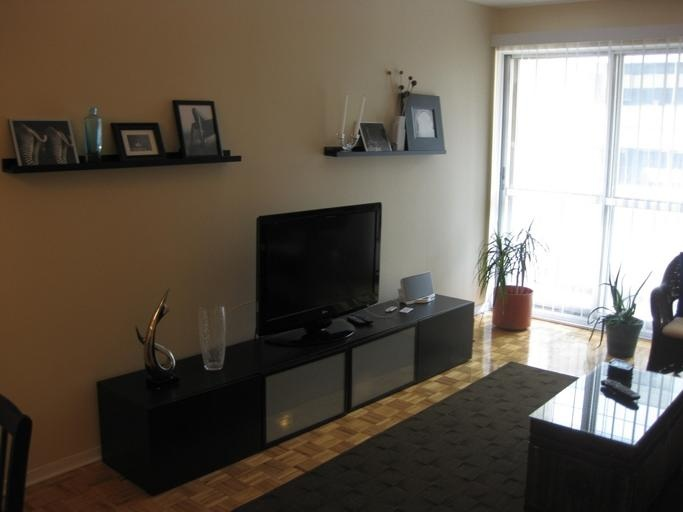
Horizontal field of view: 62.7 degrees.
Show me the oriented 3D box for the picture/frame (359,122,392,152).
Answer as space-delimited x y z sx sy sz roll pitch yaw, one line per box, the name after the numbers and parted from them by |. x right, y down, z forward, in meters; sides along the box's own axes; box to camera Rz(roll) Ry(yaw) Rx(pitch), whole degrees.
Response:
0.268 -0.951 4.445 0.162 0.235 0.309 10 17 34 | picture/frame

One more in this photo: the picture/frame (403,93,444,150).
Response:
0.686 -1.164 4.824 0.039 0.531 0.498 -4 2 36 | picture/frame

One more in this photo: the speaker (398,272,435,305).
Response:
0.638 0.276 4.659 0.351 0.289 0.221 -8 5 -39 | speaker

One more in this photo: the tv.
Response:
-0.191 0.137 3.847 0.236 0.801 0.891 10 16 43 | tv

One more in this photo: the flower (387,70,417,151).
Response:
0.521 -1.250 4.735 0.148 0.661 0.403 10 17 35 | flower

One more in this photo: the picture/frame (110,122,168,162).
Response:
-1.193 -0.664 3.249 0.230 0.203 0.017 -11 2 -40 | picture/frame

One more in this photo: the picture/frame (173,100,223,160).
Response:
-0.908 -0.784 3.472 0.025 0.392 0.319 -5 10 42 | picture/frame

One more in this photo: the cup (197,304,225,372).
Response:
-0.789 0.496 3.426 0.149 0.395 0.126 -5 14 -20 | cup

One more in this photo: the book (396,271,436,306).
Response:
0.636 0.272 4.666 0.353 0.289 0.222 -8 4 -38 | book

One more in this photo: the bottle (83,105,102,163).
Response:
-1.387 -0.680 3.106 0.095 0.287 0.110 -2 14 -9 | bottle

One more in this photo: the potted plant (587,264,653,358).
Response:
2.555 0.503 5.093 0.592 0.902 0.538 -13 17 -36 | potted plant

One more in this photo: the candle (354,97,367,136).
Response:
0.145 -1.098 4.383 0.101 0.302 0.242 1 14 2 | candle
